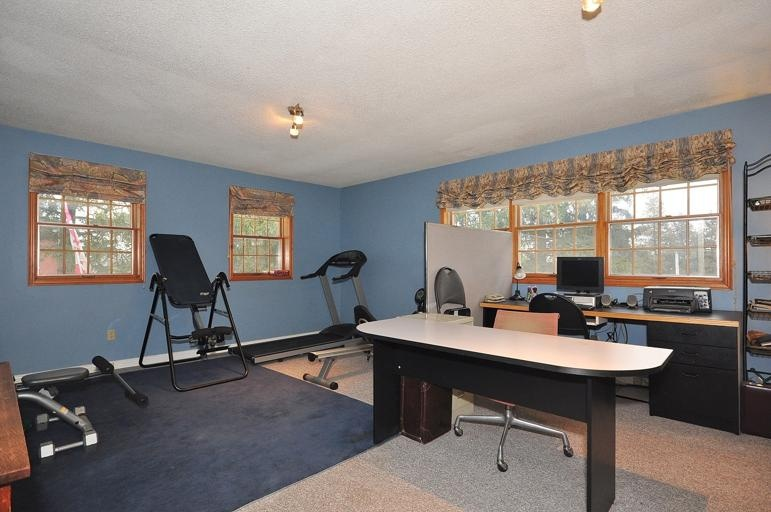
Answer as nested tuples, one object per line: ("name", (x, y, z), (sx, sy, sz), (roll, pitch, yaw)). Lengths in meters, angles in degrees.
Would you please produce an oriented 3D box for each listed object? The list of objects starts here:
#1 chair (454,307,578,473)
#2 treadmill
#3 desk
("chair", (1.116, 1.283, 5.359), (1.501, 1.626, 1.393), (0, -5, 28))
("treadmill", (-1.243, 0.709, 7.554), (2.136, 1.548, 1.019), (-4, 3, -43))
("desk", (2.764, 1.160, 6.086), (2.750, 1.229, 0.850), (0, 7, 39))
